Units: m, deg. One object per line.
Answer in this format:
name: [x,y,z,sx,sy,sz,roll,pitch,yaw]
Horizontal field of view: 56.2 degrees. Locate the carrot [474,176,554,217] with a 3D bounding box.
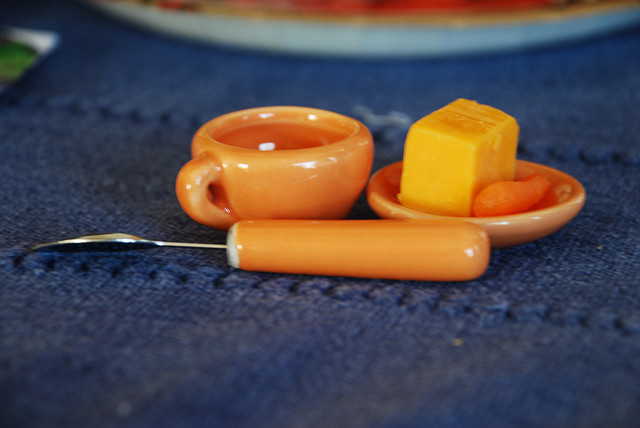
carrot: [0.148,-0.013,0.467,0.069,0.013,0.027,-8,26,-10]

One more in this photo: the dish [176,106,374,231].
dish: [-0.032,-0.040,0.506,0.156,0.074,0.114,-3,41,2]

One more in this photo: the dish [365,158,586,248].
dish: [0.125,-0.023,0.485,0.132,0.020,0.116,-15,22,-35]

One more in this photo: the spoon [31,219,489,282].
spoon: [-0.036,0.029,0.448,0.408,0.032,0.041,1,22,1]
